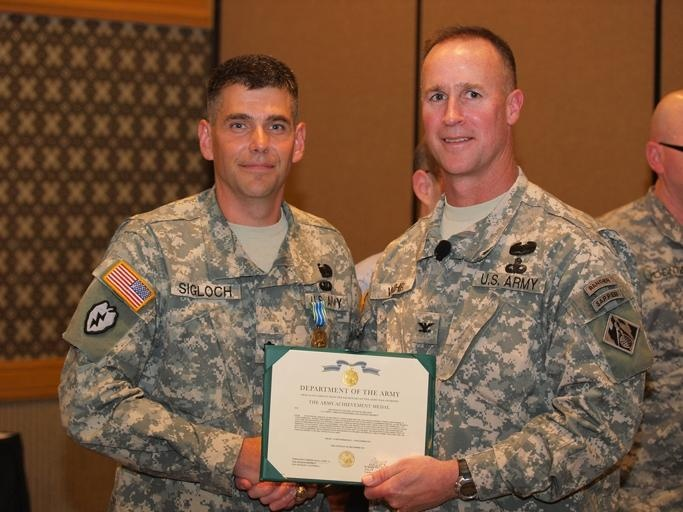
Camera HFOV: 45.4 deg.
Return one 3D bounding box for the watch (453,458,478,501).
[{"bbox_3d":[0.434,0.780,2.815,0.071,0.124,0.113,-5,13,2],"label":"watch"}]
